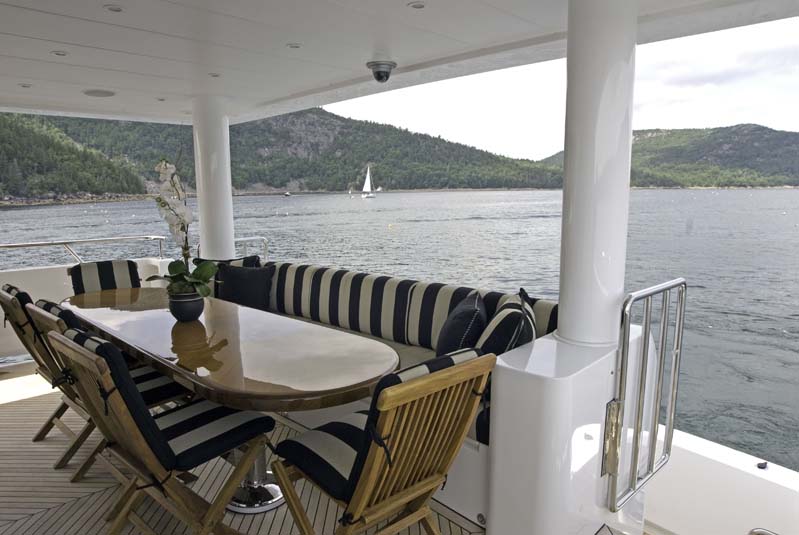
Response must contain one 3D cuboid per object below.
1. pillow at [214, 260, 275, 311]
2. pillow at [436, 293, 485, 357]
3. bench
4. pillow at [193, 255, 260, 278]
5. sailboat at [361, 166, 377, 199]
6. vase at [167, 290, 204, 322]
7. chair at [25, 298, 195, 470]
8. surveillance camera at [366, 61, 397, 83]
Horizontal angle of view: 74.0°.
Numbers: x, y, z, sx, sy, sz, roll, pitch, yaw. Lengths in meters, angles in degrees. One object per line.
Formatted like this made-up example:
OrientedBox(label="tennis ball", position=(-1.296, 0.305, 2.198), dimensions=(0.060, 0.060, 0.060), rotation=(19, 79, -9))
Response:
OrientedBox(label="pillow", position=(-1.486, 0.193, 5.080), dimensions=(0.412, 0.428, 0.158), rotation=(4, -4, 1))
OrientedBox(label="pillow", position=(0.430, 0.341, 3.650), dimensions=(0.268, 0.467, 0.513), rotation=(2, 31, 5))
OrientedBox(label="bench", position=(-0.859, 0.619, 4.743), dimensions=(3.132, 1.186, 0.998), rotation=(7, 6, 42))
OrientedBox(label="pillow", position=(-1.692, -0.050, 5.396), dimensions=(0.412, 0.138, 0.431), rotation=(4, 9, 19))
OrientedBox(label="sailboat", position=(-1.891, -5.212, 32.201), dimensions=(0.857, 2.058, 0.404), rotation=(-1, -1, 28))
OrientedBox(label="vase", position=(-1.520, 0.275, 3.760), dimensions=(0.200, 0.162, 0.209), rotation=(1, 4, -5))
OrientedBox(label="chair", position=(-1.794, 0.735, 3.314), dimensions=(0.647, 0.880, 0.879), rotation=(-10, 17, -38))
OrientedBox(label="surveillance camera", position=(-0.159, -1.828, 4.925), dimensions=(0.235, 0.155, 0.227), rotation=(1, -2, -40))
